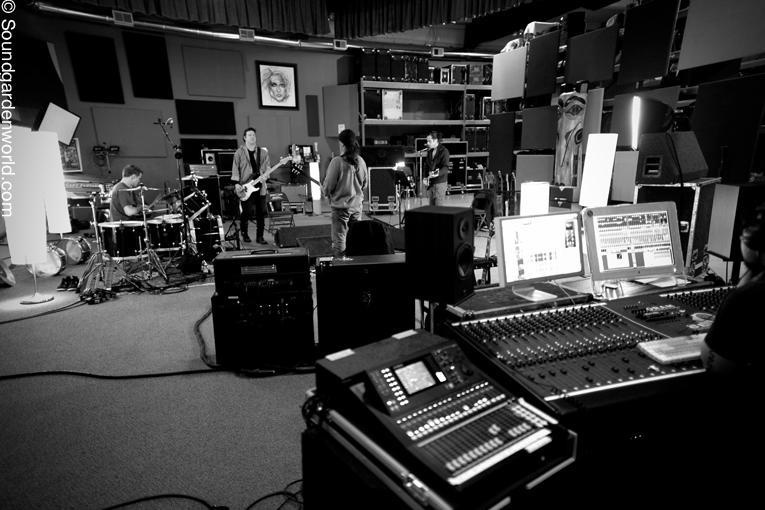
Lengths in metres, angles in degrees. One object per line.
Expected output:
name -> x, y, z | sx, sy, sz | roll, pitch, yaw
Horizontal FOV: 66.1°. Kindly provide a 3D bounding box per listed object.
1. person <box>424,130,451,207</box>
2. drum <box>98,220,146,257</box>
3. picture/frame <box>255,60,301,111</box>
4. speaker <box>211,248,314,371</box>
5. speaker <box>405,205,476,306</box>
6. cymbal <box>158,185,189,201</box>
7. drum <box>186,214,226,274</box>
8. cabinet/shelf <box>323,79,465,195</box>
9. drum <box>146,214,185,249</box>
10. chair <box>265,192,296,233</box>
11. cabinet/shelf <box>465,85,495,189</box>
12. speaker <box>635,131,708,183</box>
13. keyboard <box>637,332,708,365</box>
person -> 0.897, -1.398, 9.477 | 0.383, 1.175, 0.542 | -5, 9, 4
drum -> -3.124, -0.213, 7.082 | 0.469, 0.345, 0.464 | 1, 13, 0
picture/frame -> -2.093, -3.382, 11.607 | 1.009, 0.998, 0.077 | -5, 10, -34
speaker -> -1.006, 0.380, 5.435 | 1.124, 1.278, 0.937 | -2, 5, -5
speaker -> 0.423, -0.006, 4.290 | 0.526, 0.691, 0.272 | -4, 9, 9
cymbal -> -3.204, -0.951, 8.982 | 0.596, 0.208, 0.558 | -1, 5, -21
drum -> -2.254, -0.131, 7.410 | 0.420, 0.690, 0.693 | -7, -2, -32
cabinet/shelf -> 0.190, -2.179, 10.795 | 2.624, 2.175, 0.905 | -7, 25, -17
drum -> -2.655, -0.282, 7.273 | 0.402, 0.369, 0.407 | 3, 14, 24
chair -> -1.816, -0.737, 10.494 | 0.349, 0.573, 0.421 | -6, 13, 0
cabinet/shelf -> 2.053, -2.484, 12.409 | 0.574, 2.155, 0.902 | -2, 9, 20
speaker -> 2.407, -0.814, 4.927 | 0.650, 0.477, 0.417 | -13, 8, -35
keyboard -> 1.902, 0.607, 3.775 | 0.381, 0.039, 0.192 | -7, 21, -17
